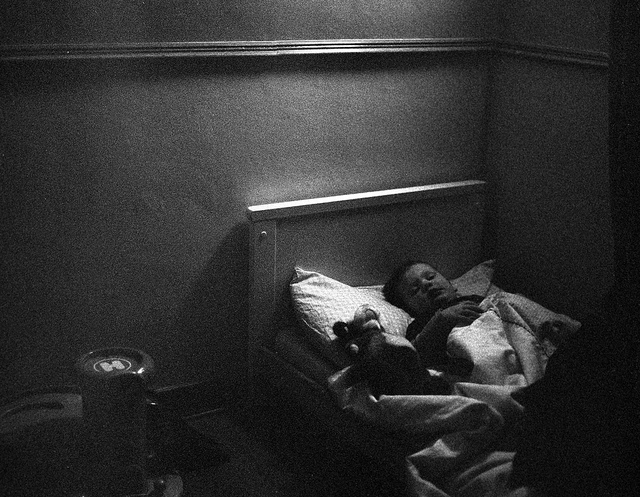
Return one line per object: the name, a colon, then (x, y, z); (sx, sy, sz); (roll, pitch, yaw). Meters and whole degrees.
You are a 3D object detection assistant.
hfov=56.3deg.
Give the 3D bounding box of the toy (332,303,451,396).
toy: (0.154, 0.211, 1.419); (0.205, 0.216, 0.329); (2, 9, 13)
